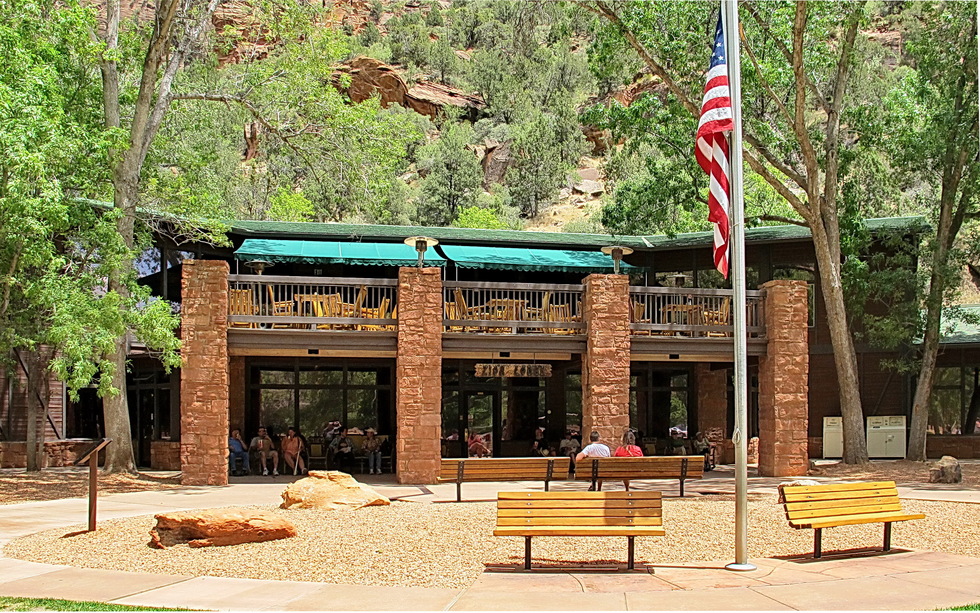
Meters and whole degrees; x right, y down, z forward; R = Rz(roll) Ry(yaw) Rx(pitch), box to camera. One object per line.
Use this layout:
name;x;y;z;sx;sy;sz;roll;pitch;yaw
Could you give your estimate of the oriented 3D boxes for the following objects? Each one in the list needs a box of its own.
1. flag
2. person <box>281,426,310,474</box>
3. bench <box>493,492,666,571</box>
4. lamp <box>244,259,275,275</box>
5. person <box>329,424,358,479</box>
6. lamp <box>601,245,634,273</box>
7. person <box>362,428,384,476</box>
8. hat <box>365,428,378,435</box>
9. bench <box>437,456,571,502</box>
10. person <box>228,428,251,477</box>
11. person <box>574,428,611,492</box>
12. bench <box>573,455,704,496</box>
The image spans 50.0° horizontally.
flag;5.062;-3.601;23.260;0.539;5.692;1.230;1;-7;-20
person;-6.299;4.661;33.900;0.783;1.471;1.174;-1;-7;-9
bench;1.894;4.746;22.315;3.470;1.698;0.855;-2;-7;-1
lamp;-7.424;-1.379;33.807;0.870;0.513;0.830;0;-7;-10
person;-4.794;4.724;34.550;0.826;1.393;1.094;-1;-7;-8
lamp;4.137;-1.643;33.328;1.171;0.976;1.118;2;-2;-6
person;-3.741;4.706;34.116;0.467;1.445;0.921;-1;-7;-8
hat;-3.857;4.070;34.199;0.335;0.245;0.469;-2;-6;-3
bench;0.390;4.294;27.883;3.330;0.571;0.651;-1;-7;-3
person;-8.062;4.656;33.892;0.605;1.487;1.460;0;-7;-12
person;2.742;4.079;28.935;0.910;1.517;1.094;17;17;26
bench;3.985;4.552;28.069;3.513;1.108;0.787;1;-7;-19
